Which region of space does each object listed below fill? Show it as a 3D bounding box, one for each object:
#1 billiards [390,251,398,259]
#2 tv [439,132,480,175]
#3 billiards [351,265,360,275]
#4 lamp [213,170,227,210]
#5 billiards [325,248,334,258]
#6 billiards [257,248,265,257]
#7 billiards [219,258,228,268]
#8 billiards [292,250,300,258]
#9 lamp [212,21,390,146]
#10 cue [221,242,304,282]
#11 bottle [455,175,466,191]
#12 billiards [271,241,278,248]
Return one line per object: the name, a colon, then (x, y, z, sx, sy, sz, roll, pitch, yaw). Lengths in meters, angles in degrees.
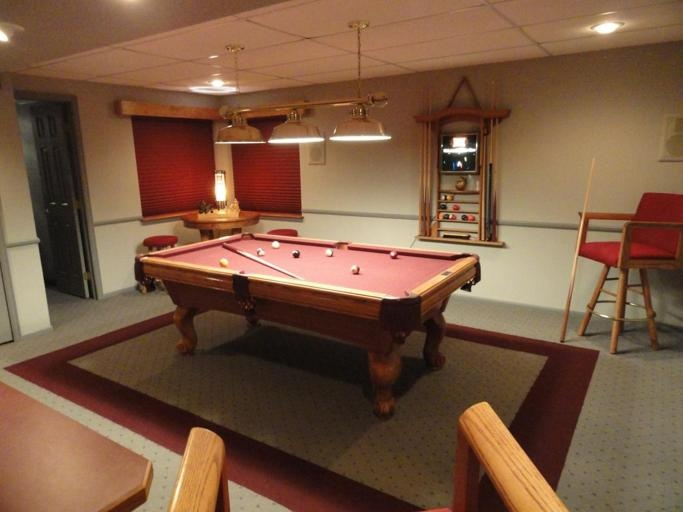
billiards: (0.475, -0.010, 4.418, 0.069, 0.061, 0.061, 1, 26, 16)
tv: (1.414, -1.215, 5.784, 0.604, 0.504, 0.078, 4, 9, 31)
billiards: (0.122, 0.108, 3.973, 0.074, 0.065, 0.073, -20, 16, -28)
lamp: (-1.738, -0.949, 7.105, 0.141, 0.552, 0.315, -6, 17, -17)
billiards: (-0.103, -0.028, 4.566, 0.067, 0.057, 0.077, -4, 6, -14)
billiards: (-0.763, -0.038, 4.691, 0.061, 0.036, 0.100, -7, 13, -20)
billiards: (-1.000, 0.061, 4.188, 0.056, 0.050, 0.061, 27, 6, -22)
billiards: (-0.415, -0.020, 4.549, 0.074, 0.046, 0.067, 4, -6, -3)
lamp: (-0.383, -1.370, 4.116, 1.538, 0.766, 0.511, 3, 20, 20)
cue: (-0.688, 0.058, 4.319, 0.068, 0.037, 0.953, 27, -1, -44)
bottle: (1.428, -0.858, 5.857, 0.124, 0.172, 0.128, 0, 16, 0)
billiards: (-0.659, -0.115, 4.980, 0.074, 0.072, 0.072, -5, -4, 35)
